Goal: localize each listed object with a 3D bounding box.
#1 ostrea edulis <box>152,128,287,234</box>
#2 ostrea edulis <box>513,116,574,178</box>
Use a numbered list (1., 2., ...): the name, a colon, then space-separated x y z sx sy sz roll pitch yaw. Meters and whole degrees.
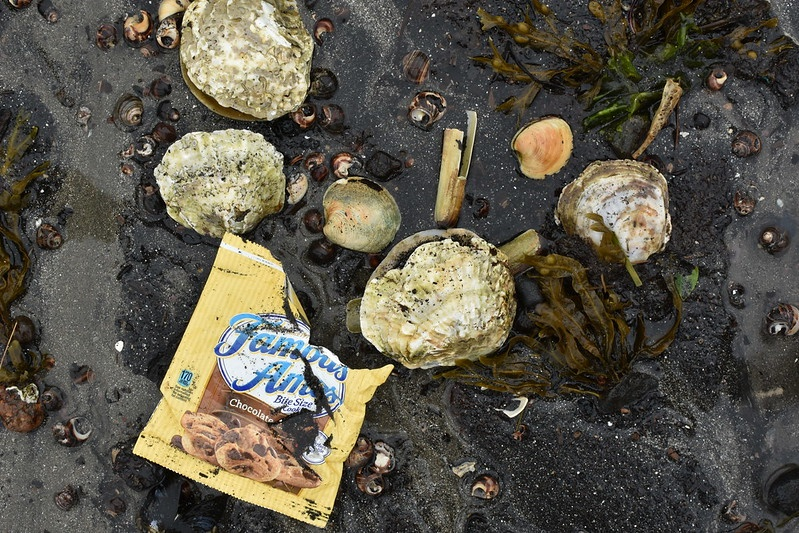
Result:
1. ostrea edulis: -1.255 -0.585 5.610 0.864 0.266 0.693 -7 84 2
2. ostrea edulis: 1.041 -0.851 5.704 0.437 0.173 0.386 -23 84 0
